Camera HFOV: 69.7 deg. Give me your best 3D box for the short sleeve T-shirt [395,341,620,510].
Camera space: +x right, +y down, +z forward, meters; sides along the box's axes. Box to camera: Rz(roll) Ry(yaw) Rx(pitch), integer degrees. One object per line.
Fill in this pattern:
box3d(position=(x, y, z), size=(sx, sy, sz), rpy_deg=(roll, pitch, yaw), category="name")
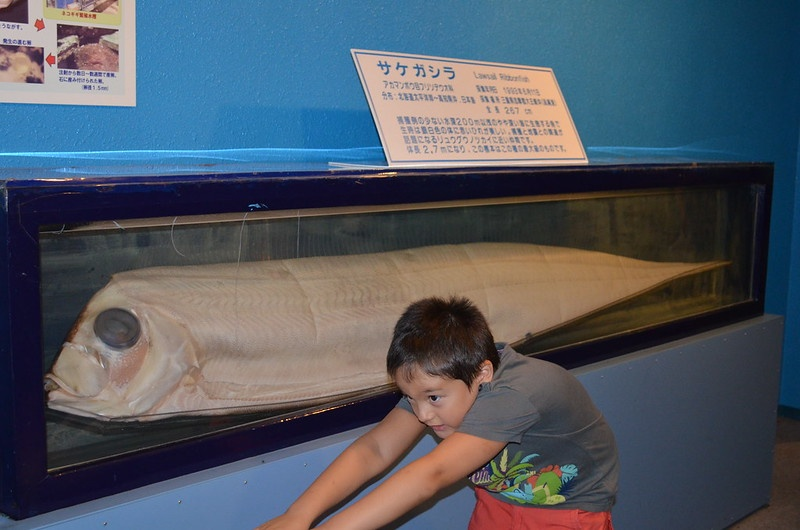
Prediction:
box3d(position=(0.244, 0.373, 1.427), size=(0.511, 0.325, 0.346), rpy_deg=(0, 32, -2), category="short sleeve T-shirt")
